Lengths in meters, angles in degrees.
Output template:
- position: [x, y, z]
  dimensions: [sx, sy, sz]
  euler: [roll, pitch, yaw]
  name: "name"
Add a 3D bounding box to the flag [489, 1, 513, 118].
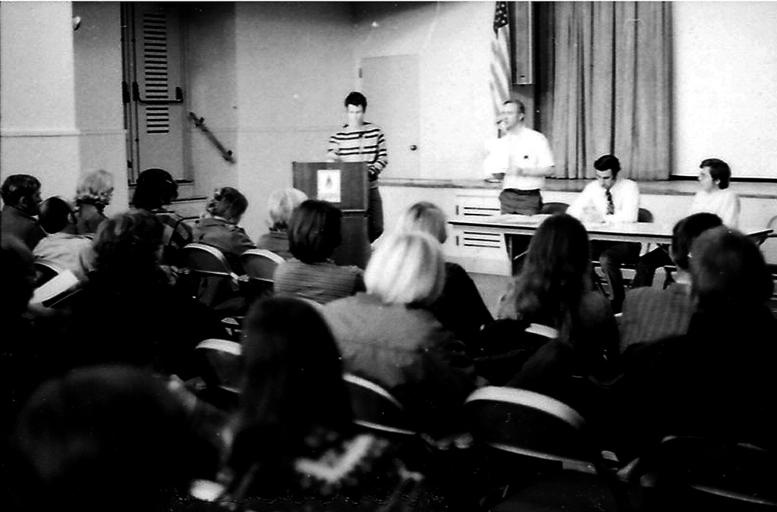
- position: [1.408, -2.448, 7.907]
  dimensions: [0.278, 1.357, 0.322]
  euler: [3, 8, 8]
  name: "flag"
